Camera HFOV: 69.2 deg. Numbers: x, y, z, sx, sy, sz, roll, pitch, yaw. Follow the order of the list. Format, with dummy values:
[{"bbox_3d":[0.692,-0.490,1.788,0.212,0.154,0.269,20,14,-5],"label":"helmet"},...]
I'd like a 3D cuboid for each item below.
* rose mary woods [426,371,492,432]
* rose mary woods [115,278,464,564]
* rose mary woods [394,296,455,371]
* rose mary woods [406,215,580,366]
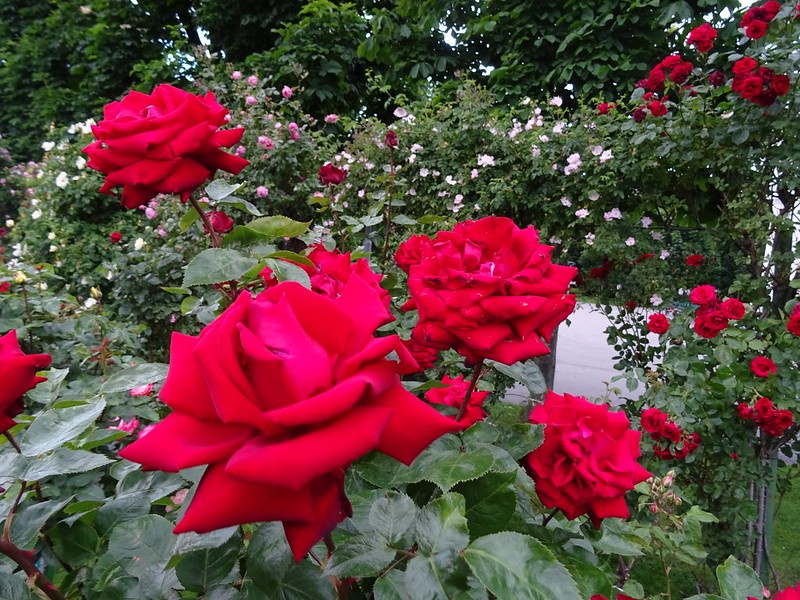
[{"bbox_3d":[0.227,0.378,2.264,0.228,0.118,0.224,19,30,-17],"label":"rose mary woods"},{"bbox_3d":[-0.270,0.380,1.437,0.686,0.466,0.687,13,35,28],"label":"rose mary woods"},{"bbox_3d":[0.077,0.151,2.248,0.085,0.197,0.185,32,36,16],"label":"rose mary woods"},{"bbox_3d":[0.336,0.026,1.789,0.539,0.326,0.534,-16,6,-20],"label":"rose mary woods"}]
